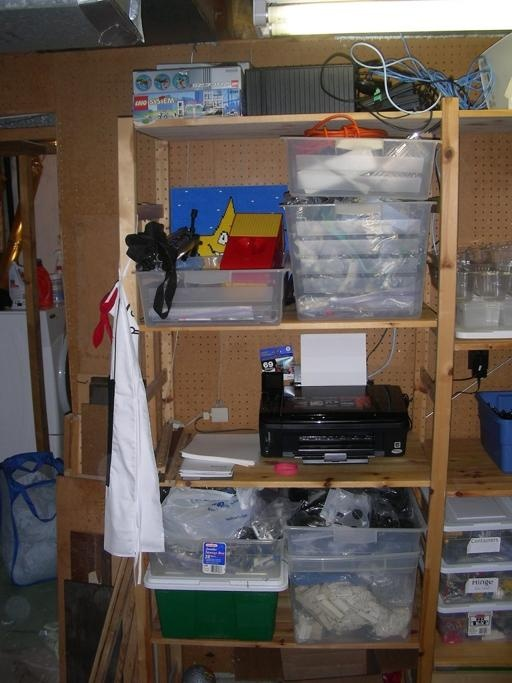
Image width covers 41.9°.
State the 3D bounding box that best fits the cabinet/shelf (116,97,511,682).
[{"bbox_3d":[0.210,0.225,2.183,1.196,1.827,0.575,0,7,5],"label":"cabinet/shelf"}]

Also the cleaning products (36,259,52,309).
[{"bbox_3d":[-1.265,-0.339,4.001,0.082,0.283,0.343,-3,7,-16],"label":"cleaning products"}]

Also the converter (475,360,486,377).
[{"bbox_3d":[0.767,0.092,2.298,0.046,0.070,0.038,0,-5,10],"label":"converter"}]
